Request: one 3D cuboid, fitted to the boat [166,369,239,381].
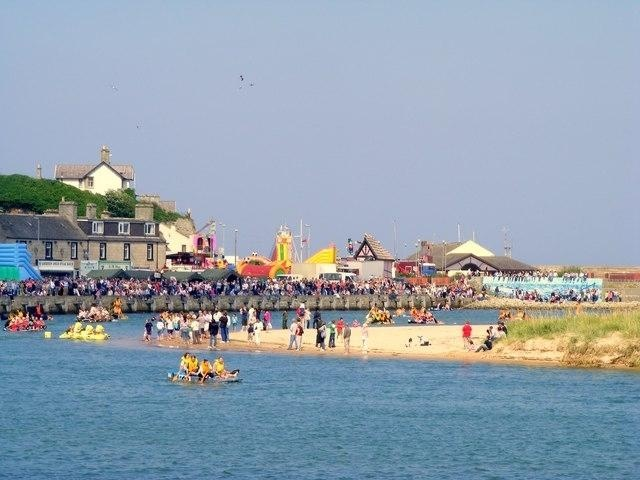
[{"bbox_3d":[-8.433,10.080,112.870,5.239,1.048,1.331,0,10,-1],"label":"boat"}]
